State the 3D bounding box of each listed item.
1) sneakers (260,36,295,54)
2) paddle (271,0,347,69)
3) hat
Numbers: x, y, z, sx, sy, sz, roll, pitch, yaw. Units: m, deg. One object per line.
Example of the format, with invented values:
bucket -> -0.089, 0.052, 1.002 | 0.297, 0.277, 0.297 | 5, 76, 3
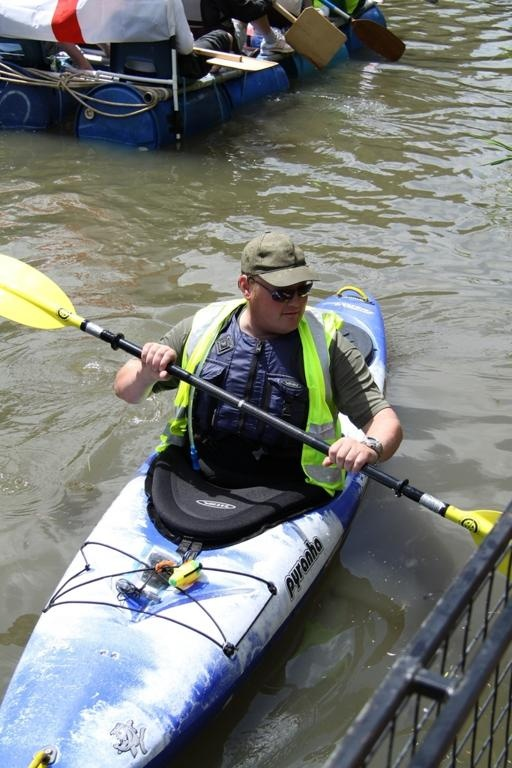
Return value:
sneakers -> 0.235, -4.198, 8.930 | 0.498, 0.210, 0.162 | -11, 54, -11
paddle -> 0.709, -4.110, 8.603 | 1.207, 0.425, 0.155 | 31, 20, -41
hat -> 0.072, -0.443, 2.535 | 0.186, 0.129, 0.281 | -13, 21, -38
